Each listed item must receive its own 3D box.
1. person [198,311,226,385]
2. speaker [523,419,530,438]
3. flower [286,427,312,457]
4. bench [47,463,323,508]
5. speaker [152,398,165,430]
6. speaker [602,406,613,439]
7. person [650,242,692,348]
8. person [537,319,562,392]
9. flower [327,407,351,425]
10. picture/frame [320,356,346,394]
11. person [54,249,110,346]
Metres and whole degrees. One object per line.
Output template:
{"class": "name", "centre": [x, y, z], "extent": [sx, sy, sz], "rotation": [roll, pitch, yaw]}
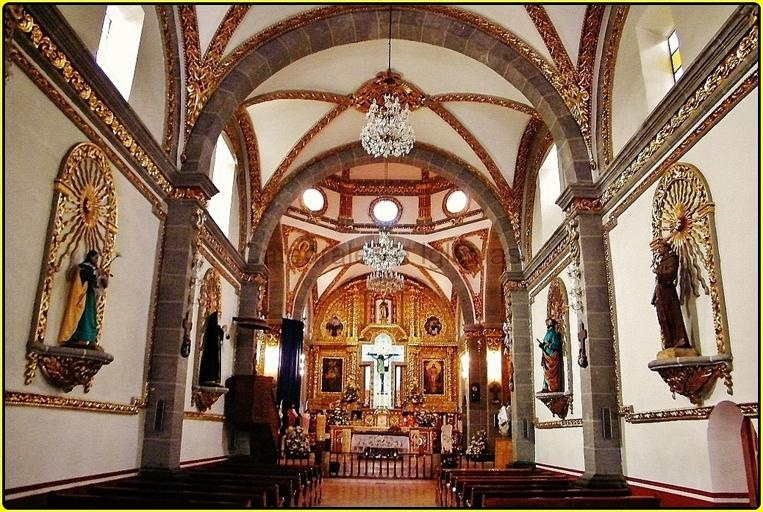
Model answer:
{"class": "person", "centre": [-3.586, 1.978, 11.830], "extent": [0.381, 1.607, 0.892], "rotation": [2, -18, -5]}
{"class": "speaker", "centre": [3.600, 4.337, 13.860], "extent": [0.132, 0.429, 0.043], "rotation": [-6, -19, 18]}
{"class": "flower", "centre": [-2.601, 5.718, 16.871], "extent": [0.845, 0.846, 0.313], "rotation": [16, -37, -34]}
{"class": "bench", "centre": [-2.888, 3.999, 9.289], "extent": [2.835, 0.731, 4.936], "rotation": [-1, -19, 4]}
{"class": "speaker", "centre": [-3.830, 2.763, 9.538], "extent": [0.161, 0.520, 0.056], "rotation": [-2, -18, 7]}
{"class": "speaker", "centre": [3.918, 2.925, 9.598], "extent": [0.177, 0.520, 0.085], "rotation": [2, -18, -6]}
{"class": "person", "centre": [4.145, 0.535, 8.018], "extent": [0.493, 1.659, 0.401], "rotation": [-15, -24, 40]}
{"class": "person", "centre": [3.692, 2.128, 11.945], "extent": [0.213, 1.595, 0.601], "rotation": [9, -20, -24]}
{"class": "flower", "centre": [-1.695, 6.384, 22.005], "extent": [0.684, 0.732, 2.068], "rotation": [3, -19, -8]}
{"class": "picture/frame", "centre": [-2.328, 5.731, 26.199], "extent": [1.599, 2.355, 0.250], "rotation": [0, -29, -1]}
{"class": "person", "centre": [-4.238, 0.604, 7.900], "extent": [0.287, 1.366, 0.544], "rotation": [-5, -19, 15]}
